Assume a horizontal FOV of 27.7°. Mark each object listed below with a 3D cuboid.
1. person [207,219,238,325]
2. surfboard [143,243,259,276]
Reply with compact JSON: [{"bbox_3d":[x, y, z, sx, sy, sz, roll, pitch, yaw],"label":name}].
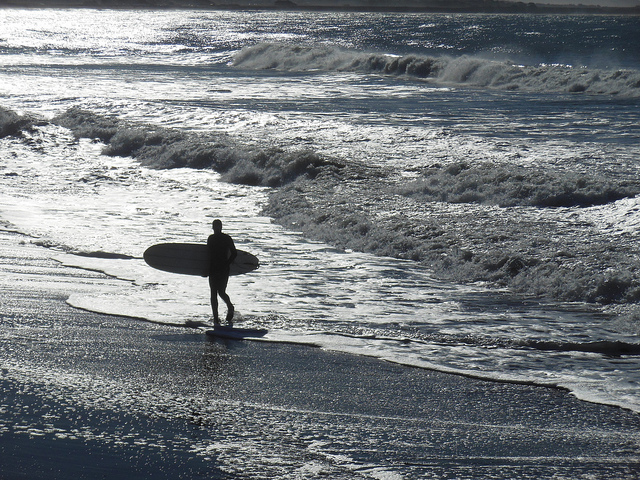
[{"bbox_3d":[-1.962,0.614,25.227,0.623,2.028,0.350,5,4,-3],"label":"person"},{"bbox_3d":[-2.794,0.364,26.249,2.846,0.617,0.287,5,9,-38],"label":"surfboard"}]
